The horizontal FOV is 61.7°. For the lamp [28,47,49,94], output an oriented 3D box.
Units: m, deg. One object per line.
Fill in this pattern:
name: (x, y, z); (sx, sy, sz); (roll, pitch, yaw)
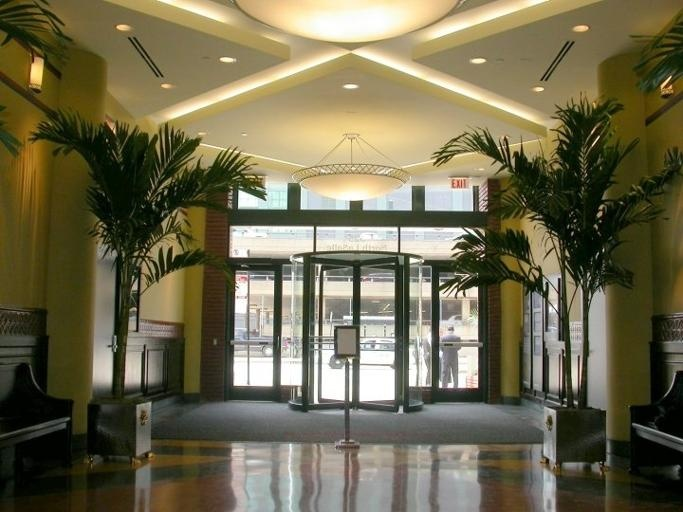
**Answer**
lamp: (-3.285, -1.983, 6.141); (0.130, 0.433, 0.211); (5, -7, -33)

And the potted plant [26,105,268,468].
potted plant: (-2.363, 0.382, 6.880); (2.526, 3.820, 2.946); (2, 5, -25)

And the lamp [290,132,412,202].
lamp: (0.183, -1.441, 9.371); (1.948, 1.108, 1.973); (-2, -4, 23)

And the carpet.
carpet: (-0.460, 2.693, 9.358); (3.562, 0.032, 5.456); (0, -11, -44)
